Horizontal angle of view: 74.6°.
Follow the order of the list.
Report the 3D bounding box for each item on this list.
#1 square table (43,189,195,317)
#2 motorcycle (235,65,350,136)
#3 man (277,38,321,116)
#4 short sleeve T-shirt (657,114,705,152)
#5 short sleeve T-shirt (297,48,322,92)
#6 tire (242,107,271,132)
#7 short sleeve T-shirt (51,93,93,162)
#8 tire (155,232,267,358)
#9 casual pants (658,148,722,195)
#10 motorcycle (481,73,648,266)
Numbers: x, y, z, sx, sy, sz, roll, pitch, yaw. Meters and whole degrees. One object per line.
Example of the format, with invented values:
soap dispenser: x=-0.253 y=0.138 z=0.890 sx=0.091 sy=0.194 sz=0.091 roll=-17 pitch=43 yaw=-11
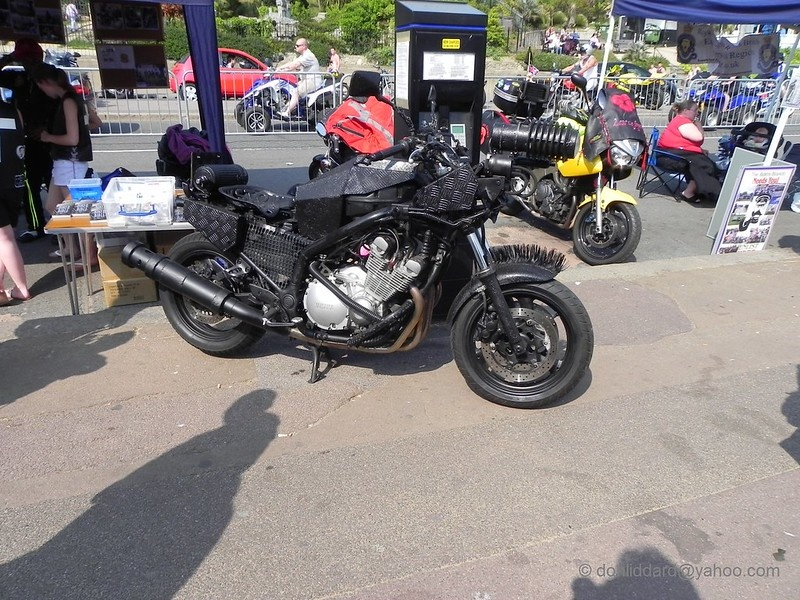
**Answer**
square table: x=-2.647 y=-0.463 z=5.364 sx=1.251 sy=0.774 sz=1.235 roll=-25 pitch=4 yaw=-10
motorcycle: x=-2.693 y=-5.160 z=13.453 sx=2.827 sy=1.614 sz=1.003 roll=-10 pitch=16 yaw=-20
man: x=-2.836 y=-6.217 z=14.562 sx=1.232 sy=1.896 sz=0.743 roll=1 pitch=-3 yaw=3
short sleeve T-shirt: x=4.591 y=-2.695 z=8.739 sx=0.639 sy=0.640 sz=0.605 roll=5 pitch=33 yaw=9
short sleeve T-shirt: x=-2.561 y=-6.412 z=14.541 sx=0.728 sy=1.084 sz=0.767 roll=-6 pitch=15 yaw=11
tire: x=-3.585 y=-4.500 z=13.035 sx=0.566 sy=0.564 sz=0.223 roll=14 pitch=12 yaw=-20
short sleeve T-shirt: x=-3.767 y=-2.003 z=6.034 sx=0.432 sy=0.782 sz=0.548 roll=0 pitch=16 yaw=-22
tire: x=-1.585 y=-0.054 z=4.407 sx=1.034 sy=1.034 sz=0.196 roll=9 pitch=17 yaw=20
casual pants: x=4.798 y=-2.108 z=8.757 sx=1.057 sy=0.753 sz=0.535 roll=14 pitch=27 yaw=18
motorcycle: x=2.102 y=-1.849 z=7.108 sx=1.268 sy=1.975 sz=3.120 roll=-3 pitch=26 yaw=-20
